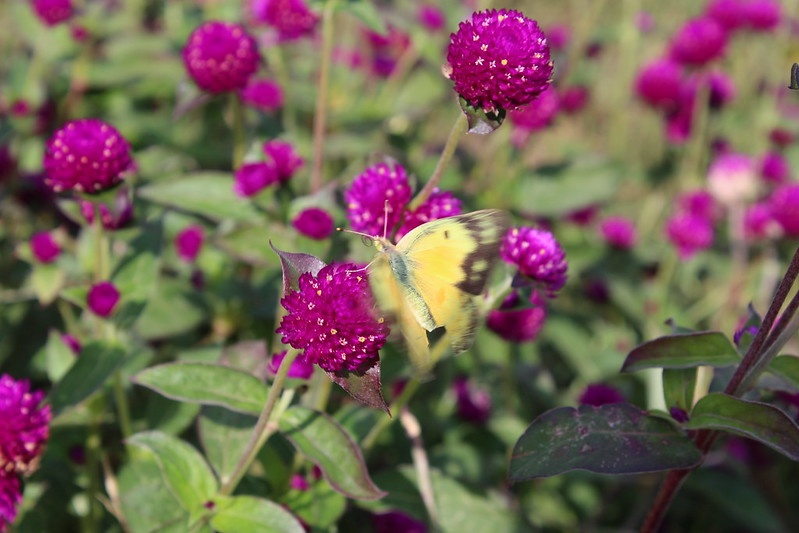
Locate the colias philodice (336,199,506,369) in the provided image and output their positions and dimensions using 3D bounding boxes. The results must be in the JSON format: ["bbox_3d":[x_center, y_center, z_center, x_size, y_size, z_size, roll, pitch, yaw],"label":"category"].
[{"bbox_3d":[0.055,0.031,1.897,0.176,0.373,0.317,-9,6,34],"label":"colias philodice"}]
